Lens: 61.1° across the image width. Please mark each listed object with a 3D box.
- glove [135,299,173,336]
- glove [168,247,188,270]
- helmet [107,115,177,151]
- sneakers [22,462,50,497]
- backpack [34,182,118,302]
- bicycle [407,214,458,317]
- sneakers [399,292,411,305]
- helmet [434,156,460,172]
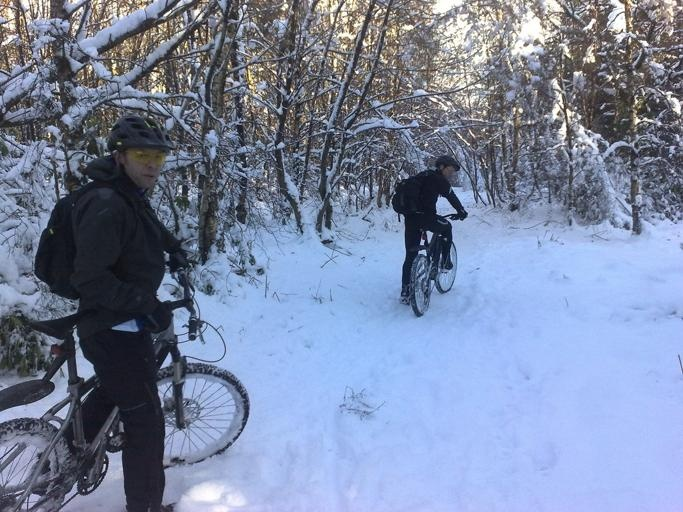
[{"bbox_3d":[-2.007,0.660,6.217,0.337,0.373,0.270,-16,-17,30],"label":"glove"},{"bbox_3d":[-1.916,0.023,6.735,0.213,0.242,0.184,-6,2,-32],"label":"glove"},{"bbox_3d":[-2.171,-1.294,6.154,0.543,0.303,0.405,11,18,29],"label":"helmet"},{"bbox_3d":[-3.202,2.383,6.093,0.217,0.321,0.109,20,12,-37],"label":"sneakers"},{"bbox_3d":[-2.892,-0.137,6.046,0.661,1.217,0.197,-7,9,-24],"label":"backpack"},{"bbox_3d":[1.404,0.194,10.484,0.839,1.254,1.843,3,18,24],"label":"bicycle"},{"bbox_3d":[1.106,0.759,10.256,0.143,0.179,0.185,-1,3,7],"label":"sneakers"},{"bbox_3d":[1.834,-1.643,10.030,0.296,0.306,0.256,-5,24,14],"label":"helmet"}]
